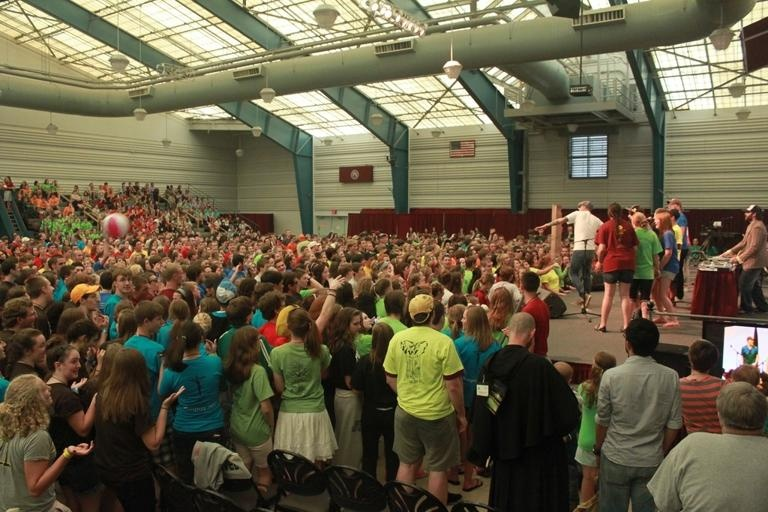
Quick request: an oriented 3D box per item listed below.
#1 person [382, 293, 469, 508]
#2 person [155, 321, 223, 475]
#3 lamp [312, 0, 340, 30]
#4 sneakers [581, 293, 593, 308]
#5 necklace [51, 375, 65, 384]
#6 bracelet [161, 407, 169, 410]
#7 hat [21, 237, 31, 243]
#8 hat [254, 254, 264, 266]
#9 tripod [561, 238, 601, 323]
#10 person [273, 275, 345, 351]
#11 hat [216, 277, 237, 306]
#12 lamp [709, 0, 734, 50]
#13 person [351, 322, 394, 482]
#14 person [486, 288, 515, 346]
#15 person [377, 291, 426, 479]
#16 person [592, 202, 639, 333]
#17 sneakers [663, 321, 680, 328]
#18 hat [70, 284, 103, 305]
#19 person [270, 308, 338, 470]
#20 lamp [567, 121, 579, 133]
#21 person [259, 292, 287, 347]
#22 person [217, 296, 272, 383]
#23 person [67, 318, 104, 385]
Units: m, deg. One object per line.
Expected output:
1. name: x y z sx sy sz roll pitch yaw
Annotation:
1. person: 0.499 1.723 7.160 0.922 2.481 0.229 -1 -1 15
2. person: -2.479 2.110 7.640 0.799 2.655 0.801 -4 15 -25
3. lamp: -1.229 -5.113 12.526 0.626 0.501 0.634 -1 1 12
4. sneakers: 4.463 0.976 12.839 0.168 0.389 0.159 -10 17 -32
5. necklace: -3.784 1.417 6.722 0.100 0.082 0.100 2 -4 -23
6. bracelet: -2.589 1.797 6.875 0.060 0.049 0.062 -3 -5 38
7. hat: -12.229 -0.537 19.826 0.420 0.165 0.296 -2 -1 39
8. hat: -2.761 0.094 12.799 0.154 0.222 0.219 7 -6 34
9. tripod: 4.425 0.591 13.105 0.695 2.793 0.897 -15 42 1
10. person: -1.094 0.769 8.190 0.714 1.061 0.533 19 -13 -9
11. hat: -2.518 0.585 9.370 0.307 0.381 0.419 3 -1 -6
12. lamp: 7.311 -4.936 12.617 0.399 0.707 0.918 -1 -1 31
13. person: -0.024 2.079 8.113 0.783 2.404 0.698 2 15 7
14. person: 1.709 0.795 8.629 0.426 1.004 0.291 5 27 18
15. person: 0.384 1.726 8.088 0.716 2.760 0.719 -2 -37 4
16. person: 4.200 0.210 10.519 0.695 2.286 0.784 -1 -1 17
17. sneakers: 5.498 1.290 11.134 0.268 0.115 0.129 1 -2 3
18. hat: -4.552 0.565 8.858 0.380 0.209 0.256 -19 16 -11
19. person: -1.114 1.904 7.868 0.919 2.329 0.901 -4 7 -24
20. lamp: 7.798 -5.322 24.035 0.734 0.301 0.766 2 7 24
21. person: -1.562 0.899 8.178 0.374 0.763 0.597 -9 10 -29
22. person: -1.926 1.138 8.058 0.726 1.060 0.586 -3 5 31
23. person: -3.743 1.189 7.251 0.422 0.748 0.703 -3 10 -32
